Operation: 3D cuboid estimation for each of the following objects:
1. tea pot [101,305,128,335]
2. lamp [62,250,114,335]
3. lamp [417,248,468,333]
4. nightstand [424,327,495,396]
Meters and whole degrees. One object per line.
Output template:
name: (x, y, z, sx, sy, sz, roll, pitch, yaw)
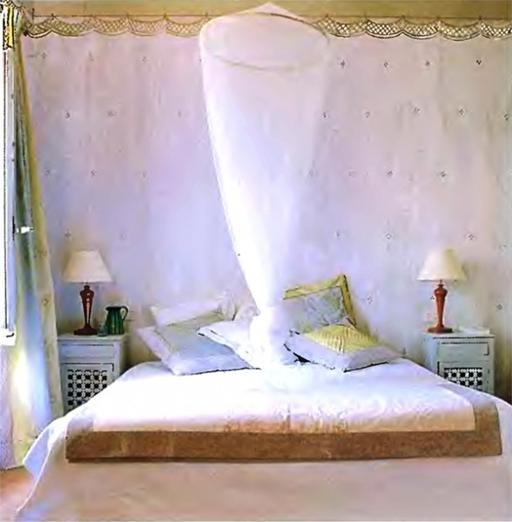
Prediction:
tea pot: (-0.831, 0.346, 3.591, 0.145, 0.191, 0.129, 4, -7, -16)
lamp: (-1.000, 0.190, 3.605, 0.239, 0.521, 0.250, -2, -2, 36)
lamp: (1.114, 0.180, 3.687, 0.233, 0.532, 0.241, -7, 9, -43)
nightstand: (1.164, 0.579, 3.684, 0.313, 0.396, 0.648, 2, -3, -6)
